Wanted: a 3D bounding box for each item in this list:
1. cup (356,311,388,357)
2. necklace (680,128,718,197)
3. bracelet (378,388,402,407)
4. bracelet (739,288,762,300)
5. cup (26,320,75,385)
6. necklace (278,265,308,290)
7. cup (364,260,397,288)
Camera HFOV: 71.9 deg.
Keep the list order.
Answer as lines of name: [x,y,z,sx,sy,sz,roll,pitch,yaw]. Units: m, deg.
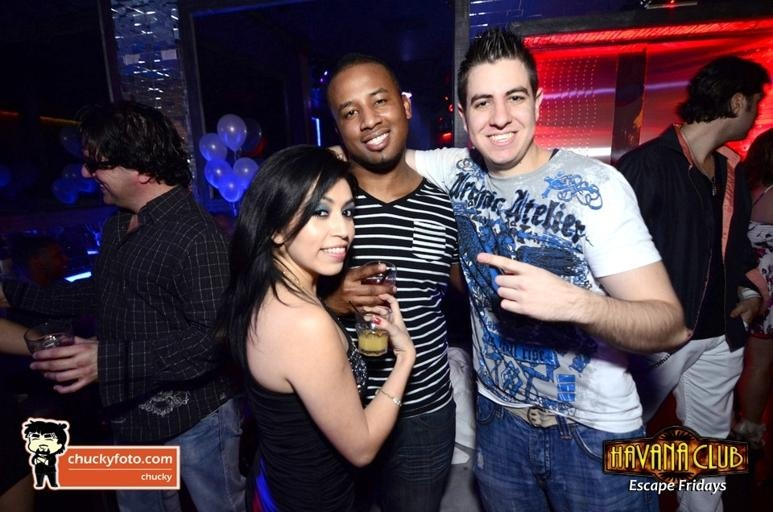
cup: [-0.092,0.505,3.521,0.267,0.283,0.255,-2,4,0]
necklace: [2.312,-0.685,4.071,0.372,0.488,0.131,-10,3,-8]
bracelet: [0.025,0.858,3.228,0.130,0.050,0.099,28,-2,-5]
bracelet: [2.929,0.307,4.284,0.107,0.099,0.095,-2,-11,-16]
cup: [-2.198,0.580,3.479,0.222,0.182,0.240,-2,23,1]
necklace: [-0.567,0.135,3.226,0.168,0.070,0.135,46,30,12]
cup: [-0.035,0.120,3.465,0.169,0.107,0.148,-6,-16,12]
